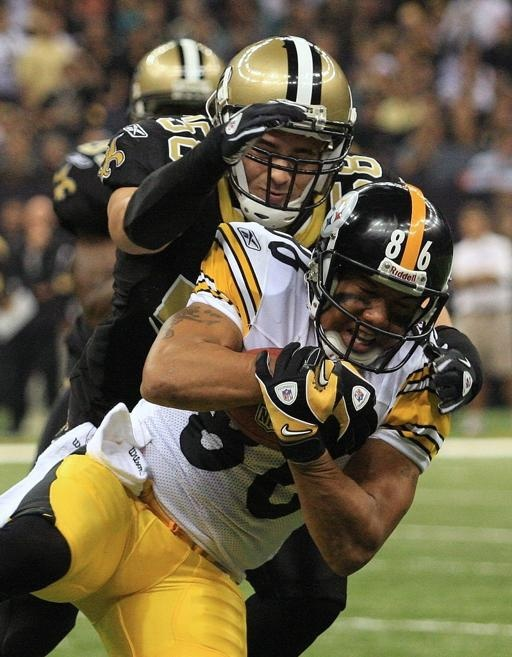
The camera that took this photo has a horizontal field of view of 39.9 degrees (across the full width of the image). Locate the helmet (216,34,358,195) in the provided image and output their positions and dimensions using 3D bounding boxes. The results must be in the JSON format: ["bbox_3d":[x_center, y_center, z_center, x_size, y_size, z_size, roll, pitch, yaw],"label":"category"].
[{"bbox_3d":[0.065,-0.650,2.044,0.430,0.358,0.481,0,24,-13],"label":"helmet"}]

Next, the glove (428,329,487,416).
[{"bbox_3d":[0.444,0.098,1.568,0.145,0.093,0.236,7,21,1],"label":"glove"}]

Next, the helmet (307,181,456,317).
[{"bbox_3d":[0.290,-0.191,1.539,0.303,0.266,0.332,11,26,-10],"label":"helmet"}]

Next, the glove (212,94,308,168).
[{"bbox_3d":[0.011,-0.405,1.487,0.176,0.146,0.092,-5,48,-2],"label":"glove"}]

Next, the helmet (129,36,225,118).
[{"bbox_3d":[-0.335,-1.049,3.103,0.461,0.399,0.547,-3,18,-14],"label":"helmet"}]

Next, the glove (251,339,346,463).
[{"bbox_3d":[0.050,0.119,1.231,0.162,0.092,0.191,31,40,-30],"label":"glove"}]
